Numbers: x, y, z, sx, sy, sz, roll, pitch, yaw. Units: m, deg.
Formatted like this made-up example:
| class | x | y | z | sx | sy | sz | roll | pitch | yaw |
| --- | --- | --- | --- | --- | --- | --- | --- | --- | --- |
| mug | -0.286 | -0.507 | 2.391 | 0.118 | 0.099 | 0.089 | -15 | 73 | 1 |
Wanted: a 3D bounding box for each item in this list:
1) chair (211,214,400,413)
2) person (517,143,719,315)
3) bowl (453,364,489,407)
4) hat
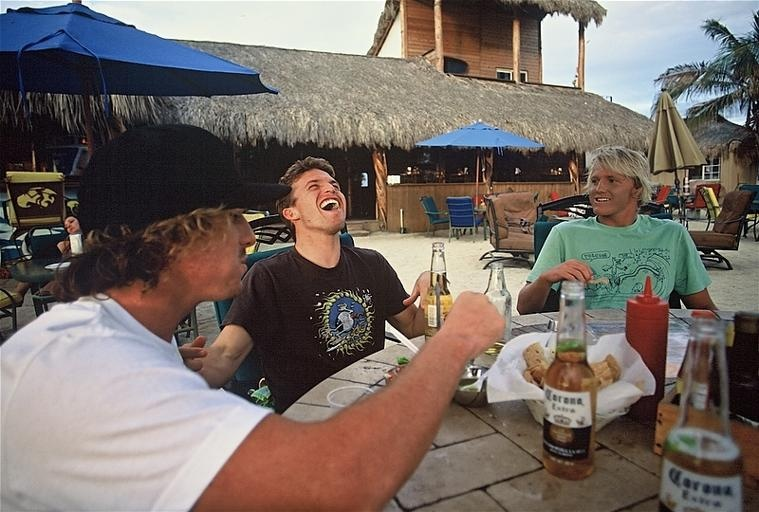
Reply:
| class | x | y | z | sx | sy | sz | roll | pitch | yaw |
| --- | --- | --- | --- | --- | --- | --- | --- | --- | --- |
| chair | -0.298 | 0.249 | 2.103 | 0.933 | 0.690 | 0.316 | -4 | -11 | -29 |
| person | 1.405 | -0.162 | 3.043 | 0.887 | 0.935 | 0.582 | -3 | 12 | 22 |
| bowl | 0.277 | 0.400 | 1.665 | 0.130 | 0.065 | 0.124 | -1 | 18 | 0 |
| hat | -0.533 | -0.173 | 1.355 | 0.392 | 0.178 | 0.277 | -16 | 10 | -23 |
